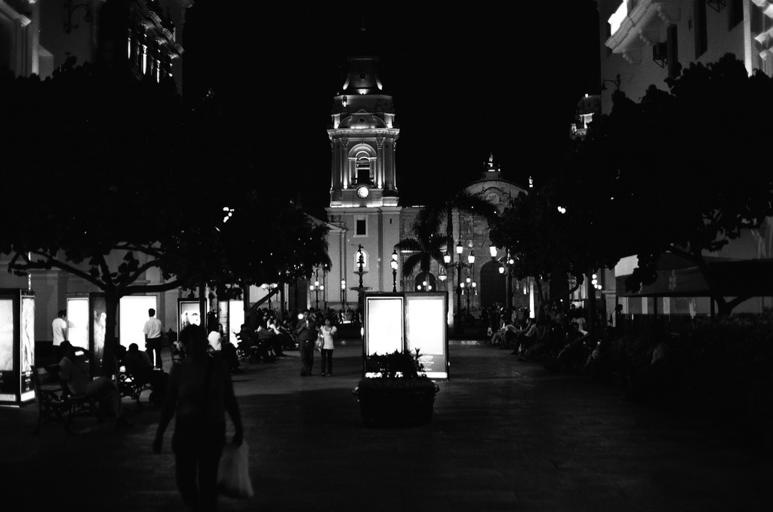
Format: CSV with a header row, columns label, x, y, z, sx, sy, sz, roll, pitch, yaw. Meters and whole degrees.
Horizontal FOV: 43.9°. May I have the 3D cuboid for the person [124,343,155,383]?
label,x,y,z,sx,sy,sz,roll,pitch,yaw
person,-6.511,2.879,25.309,0.374,1.001,0.788,-24,-12,32

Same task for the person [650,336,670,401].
label,x,y,z,sx,sy,sz,roll,pitch,yaw
person,6.846,2.766,23.911,0.437,1.545,0.579,4,-9,33

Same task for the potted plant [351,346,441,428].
label,x,y,z,sx,sy,sz,roll,pitch,yaw
potted plant,0.231,3.102,22.519,1.739,1.760,0.794,0,-5,-3
